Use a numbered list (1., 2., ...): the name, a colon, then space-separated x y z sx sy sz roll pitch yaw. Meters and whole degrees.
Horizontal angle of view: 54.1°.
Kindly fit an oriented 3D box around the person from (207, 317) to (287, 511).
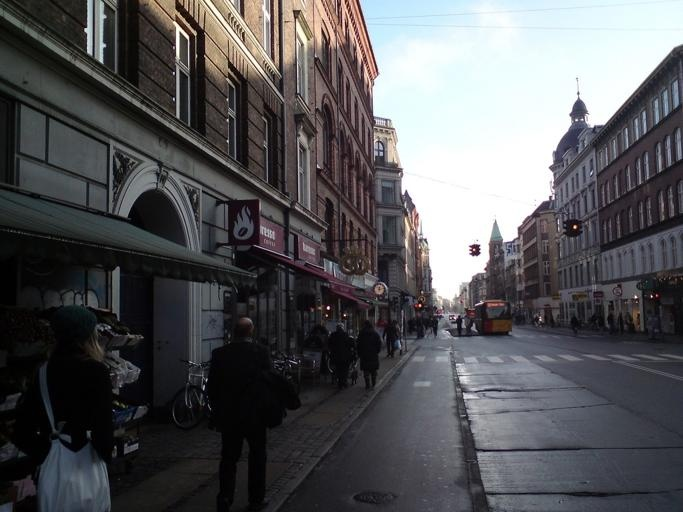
1. person: -1.252 1.927 8.226 0.813 2.358 0.486 2 -9 -15

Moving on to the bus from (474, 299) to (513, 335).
1. bus: 13.344 5.711 59.664 1.545 2.586 5.913 0 -12 0

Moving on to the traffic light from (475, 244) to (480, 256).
1. traffic light: 8.270 -0.366 40.623 0.175 0.785 0.866 -6 -11 29

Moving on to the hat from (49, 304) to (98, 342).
1. hat: -2.509 0.648 6.226 0.311 0.343 0.273 -2 -17 10

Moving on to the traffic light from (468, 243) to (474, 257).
1. traffic light: 7.858 -0.409 40.211 0.311 0.739 1.480 -3 -12 13

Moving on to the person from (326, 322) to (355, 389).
1. person: -0.017 2.805 18.636 0.745 1.731 1.293 -1 -10 -1
